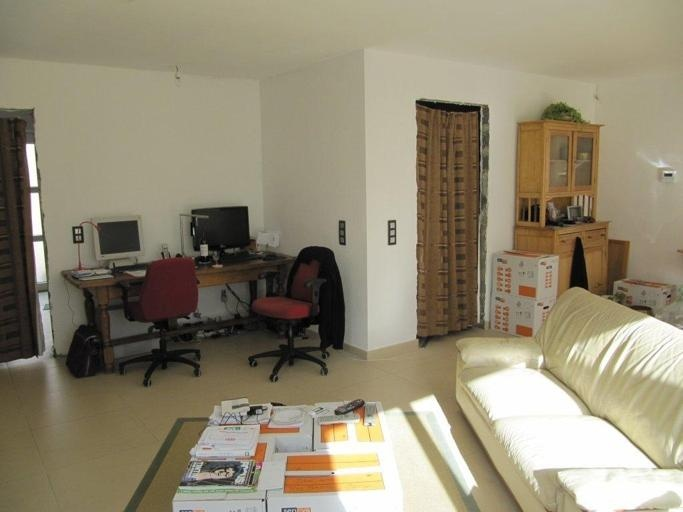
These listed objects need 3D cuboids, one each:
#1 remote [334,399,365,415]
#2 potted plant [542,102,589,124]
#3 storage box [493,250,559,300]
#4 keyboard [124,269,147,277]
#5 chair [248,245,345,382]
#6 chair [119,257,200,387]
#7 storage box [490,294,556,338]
[{"bbox_3d":[0.060,1.044,3.650,0.184,0.048,0.078,-8,15,-28],"label":"remote"},{"bbox_3d":[2.595,-1.739,6.183,0.376,0.194,0.371,16,19,42],"label":"potted plant"},{"bbox_3d":[2.056,0.170,6.095,0.485,0.645,0.887,-5,8,-42],"label":"storage box"},{"bbox_3d":[-2.047,0.178,5.321,0.104,0.038,0.163,-13,23,-43],"label":"keyboard"},{"bbox_3d":[-0.463,0.506,5.399,0.916,1.208,0.978,2,5,14],"label":"chair"},{"bbox_3d":[-1.733,0.586,5.138,0.727,1.163,0.700,4,12,37],"label":"chair"},{"bbox_3d":[1.997,0.685,5.977,0.496,0.365,0.491,8,-5,8],"label":"storage box"}]
